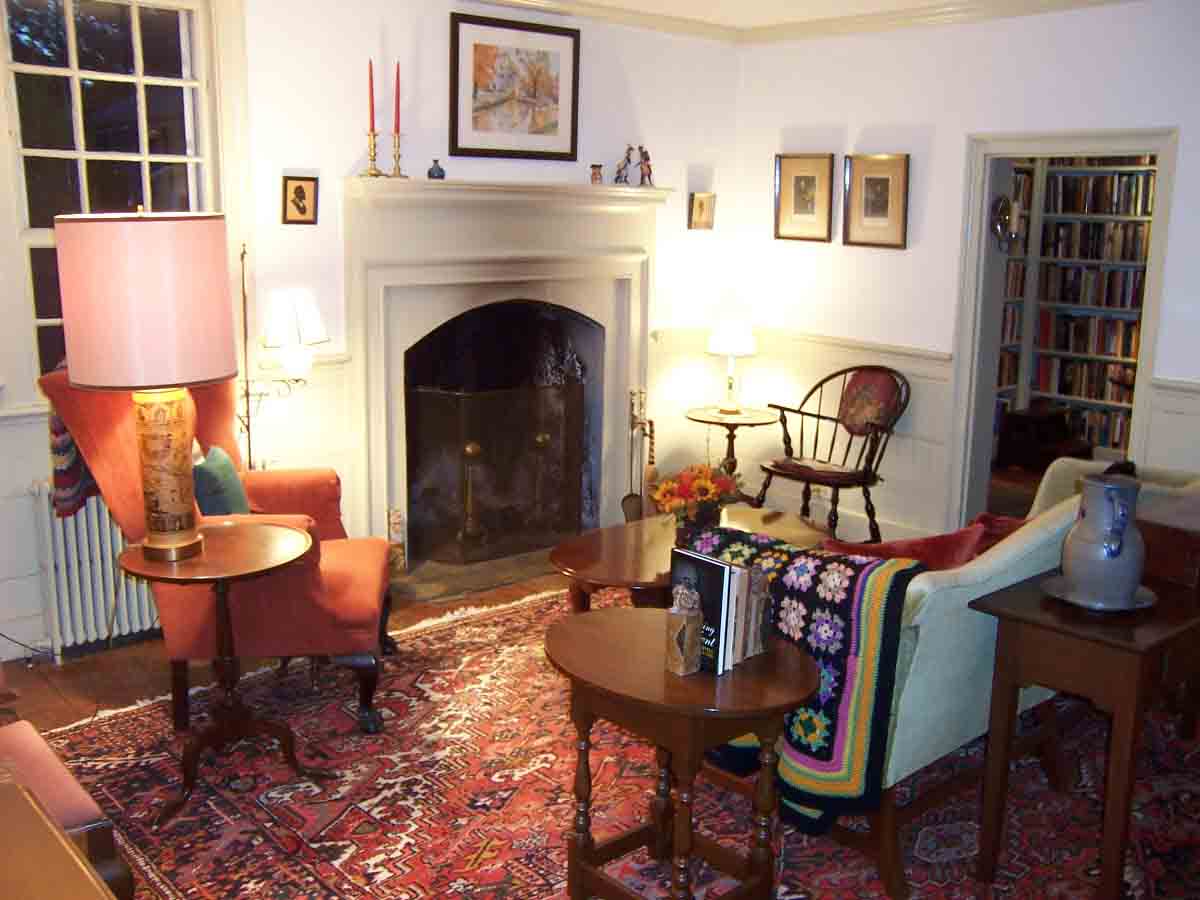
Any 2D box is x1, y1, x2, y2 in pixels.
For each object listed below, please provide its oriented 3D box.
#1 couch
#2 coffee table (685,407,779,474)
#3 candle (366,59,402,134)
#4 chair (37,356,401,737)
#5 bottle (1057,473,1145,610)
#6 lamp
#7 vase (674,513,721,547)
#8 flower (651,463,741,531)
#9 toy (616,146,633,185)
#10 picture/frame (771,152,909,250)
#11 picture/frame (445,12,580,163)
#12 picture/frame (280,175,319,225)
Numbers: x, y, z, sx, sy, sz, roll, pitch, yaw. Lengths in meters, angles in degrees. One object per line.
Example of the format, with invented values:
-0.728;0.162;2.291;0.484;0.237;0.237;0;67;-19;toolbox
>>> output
1.299;0.685;4.018;1.530;1.907;1.564;-15;26;-32;couch
0.904;-0.195;6.348;0.511;0.377;0.517;12;22;33;coffee table
-1.149;-1.872;4.966;0.188;0.407;0.343;-4;13;-11;candle
-1.457;0.344;4.388;1.441;1.678;1.552;-3;19;-13;chair
1.566;0.301;2.923;0.237;0.403;0.397;1;12;9;bottle
-1.602;-0.224;3.391;0.565;1.223;0.263;-7;14;-23;lamp
0.424;0.334;4.173;0.181;0.177;0.171;-9;14;-36;vase
0.427;0.242;4.284;0.311;0.239;0.311;-10;20;-19;flower
0.146;-1.847;6.038;0.113;0.254;0.244;1;13;10;toy
1.573;-1.647;6.171;0.955;0.636;0.095;11;18;43;picture/frame
-0.550;-2.148;5.492;0.870;0.768;0.035;-15;25;-37;picture/frame
-1.580;-1.310;4.884;0.028;0.283;0.237;19;21;41;picture/frame
